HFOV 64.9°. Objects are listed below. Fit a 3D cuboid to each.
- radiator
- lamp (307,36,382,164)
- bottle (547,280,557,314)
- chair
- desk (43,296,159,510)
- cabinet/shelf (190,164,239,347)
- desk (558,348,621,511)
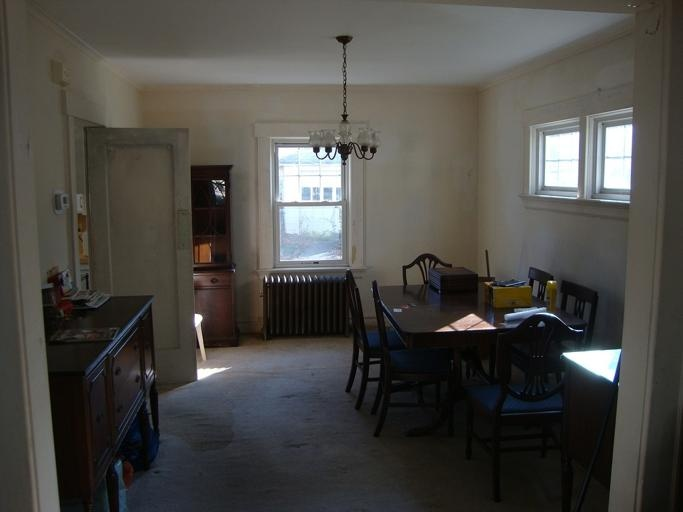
[{"bbox_3d":[-0.392,0.549,5.821,0.917,0.662,0.157,-2,10,-7],"label":"radiator"},{"bbox_3d":[0.019,-1.274,4.403,0.513,1.042,0.538,-2,9,-11],"label":"lamp"},{"bbox_3d":[1.521,0.295,3.866,0.063,0.182,0.171,3,11,18],"label":"bottle"},{"bbox_3d":[0.650,0.817,3.898,1.063,0.975,1.487,-1,3,-4],"label":"chair"},{"bbox_3d":[-1.245,0.761,2.750,0.283,0.681,1.035,-3,8,-10],"label":"desk"},{"bbox_3d":[-1.314,0.008,5.523,0.424,1.839,0.321,-3,11,-14],"label":"cabinet/shelf"},{"bbox_3d":[1.223,0.771,2.666,0.253,0.801,0.536,5,12,27],"label":"desk"}]
